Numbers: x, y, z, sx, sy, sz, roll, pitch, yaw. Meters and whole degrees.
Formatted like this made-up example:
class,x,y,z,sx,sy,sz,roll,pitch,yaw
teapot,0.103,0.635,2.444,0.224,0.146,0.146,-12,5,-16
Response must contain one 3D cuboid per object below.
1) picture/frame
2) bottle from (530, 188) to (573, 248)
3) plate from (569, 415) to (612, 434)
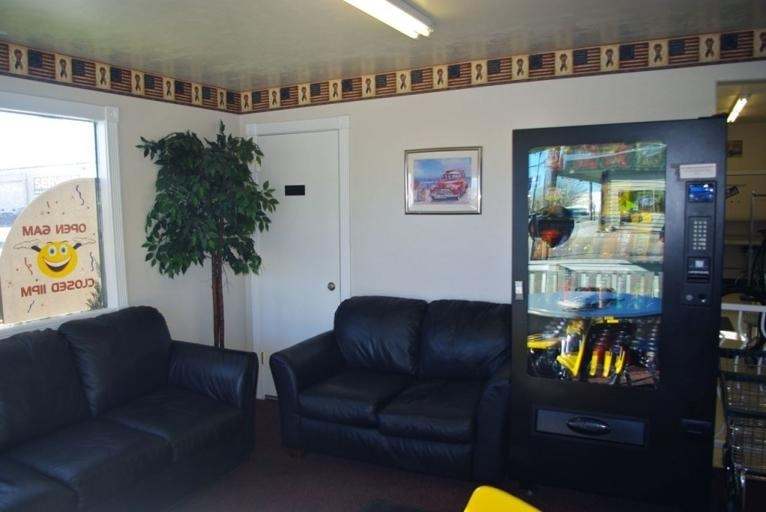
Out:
class,x,y,z,sx,sy,sz,roll,pitch,yaw
picture/frame,0.584,-0.700,5.034,0.704,0.561,0.027,0,0,20
bottle,1.217,-0.286,3.910,0.339,0.402,0.158,1,14,6
plate,1.451,1.200,3.850,0.282,0.126,0.014,1,7,16
